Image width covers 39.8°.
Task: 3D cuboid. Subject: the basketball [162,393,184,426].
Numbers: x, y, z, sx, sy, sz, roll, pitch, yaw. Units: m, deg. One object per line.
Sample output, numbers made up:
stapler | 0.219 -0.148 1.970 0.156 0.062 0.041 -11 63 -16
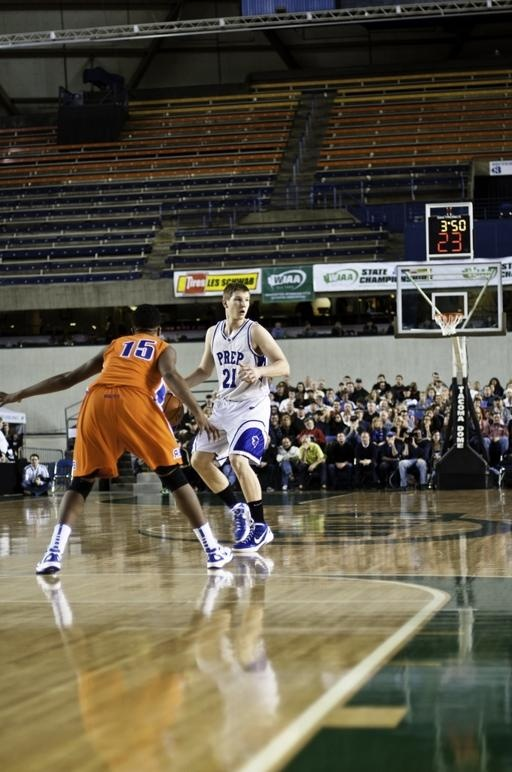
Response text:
basketball | -0.467 0.135 4.061 0.133 0.154 0.206 -8 -46 2

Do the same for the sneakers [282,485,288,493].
sneakers | 0.454 1.617 11.245 0.085 0.128 0.081 -1 0 -2

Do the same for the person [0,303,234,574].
person | -0.664 0.261 3.659 1.007 1.396 0.384 -2 -2 -4

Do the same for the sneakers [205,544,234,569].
sneakers | -0.187 0.878 3.689 0.071 0.084 0.206 0 7 15

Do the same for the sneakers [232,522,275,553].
sneakers | -0.018 0.952 4.473 0.108 0.135 0.318 -2 0 28
